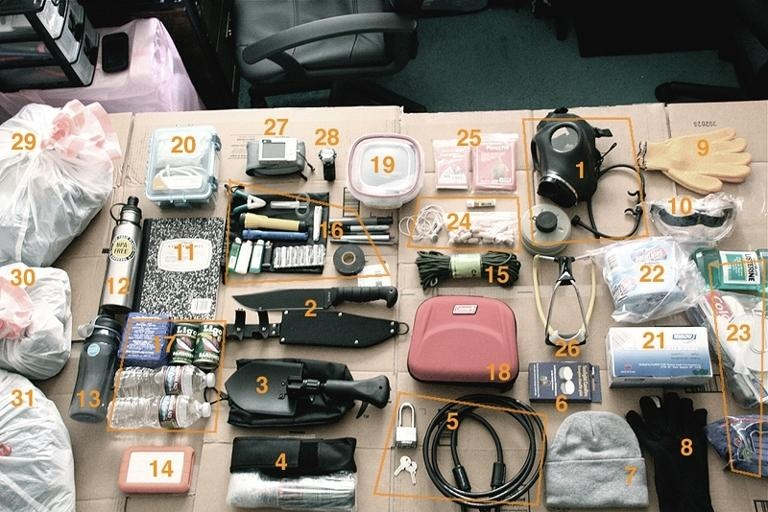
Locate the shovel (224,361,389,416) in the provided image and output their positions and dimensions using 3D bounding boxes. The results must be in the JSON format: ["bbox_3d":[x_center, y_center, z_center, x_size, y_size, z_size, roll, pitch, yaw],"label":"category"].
[{"bbox_3d":[-0.279,0.621,3.135,0.851,0.225,0.287,3,71,3],"label":"shovel"}]

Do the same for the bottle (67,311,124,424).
[{"bbox_3d":[-1.312,0.531,3.084,0.195,0.191,0.557,9,52,-23],"label":"bottle"}]
